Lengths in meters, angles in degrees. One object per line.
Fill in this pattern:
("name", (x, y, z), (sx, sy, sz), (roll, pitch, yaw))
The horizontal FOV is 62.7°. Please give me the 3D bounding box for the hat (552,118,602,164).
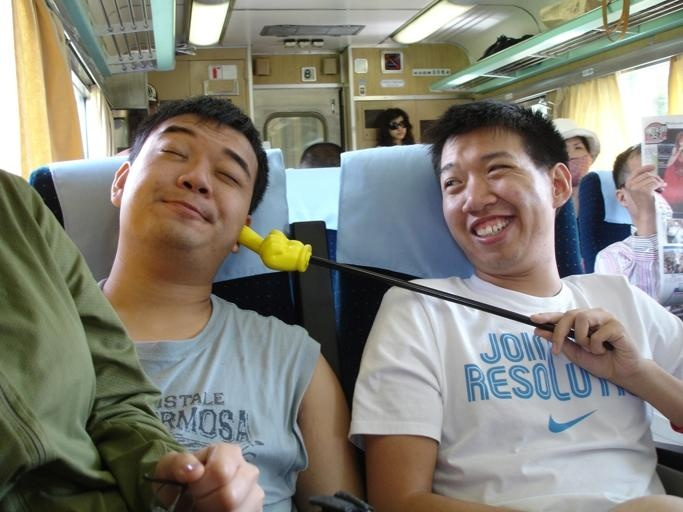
("hat", (1.930, -0.893, 4.546), (0.321, 0.135, 0.367), (27, -14, 15))
